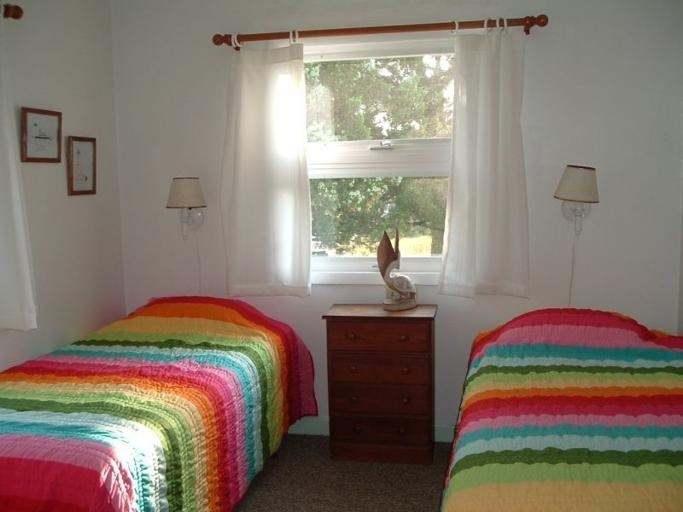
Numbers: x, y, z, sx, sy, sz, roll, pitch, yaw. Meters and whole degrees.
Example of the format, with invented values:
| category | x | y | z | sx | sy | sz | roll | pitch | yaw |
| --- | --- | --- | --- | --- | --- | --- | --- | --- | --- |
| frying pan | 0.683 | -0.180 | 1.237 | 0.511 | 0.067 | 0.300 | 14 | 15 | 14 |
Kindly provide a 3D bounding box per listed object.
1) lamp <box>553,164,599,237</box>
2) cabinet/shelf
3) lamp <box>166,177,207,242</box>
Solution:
| category | x | y | z | sx | sy | sz | roll | pitch | yaw |
| --- | --- | --- | --- | --- | --- | --- | --- | --- | --- |
| lamp | 1.390 | -0.322 | 3.220 | 0.243 | 0.439 | 0.338 | 4 | 14 | 25 |
| cabinet/shelf | 0.239 | 0.942 | 3.470 | 0.653 | 0.466 | 0.962 | 4 | 51 | -2 |
| lamp | -1.033 | -0.325 | 3.585 | 0.217 | 0.398 | 0.264 | 7 | 10 | 22 |
